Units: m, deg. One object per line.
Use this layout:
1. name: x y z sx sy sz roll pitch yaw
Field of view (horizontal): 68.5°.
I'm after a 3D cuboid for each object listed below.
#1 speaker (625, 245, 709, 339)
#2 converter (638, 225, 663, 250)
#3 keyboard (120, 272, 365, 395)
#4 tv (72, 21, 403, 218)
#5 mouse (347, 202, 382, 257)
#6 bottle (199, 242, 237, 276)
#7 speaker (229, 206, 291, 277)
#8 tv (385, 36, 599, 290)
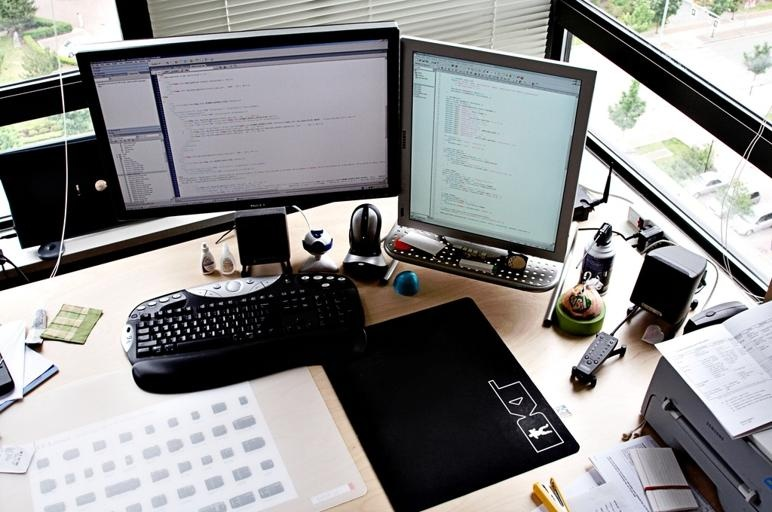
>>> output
1. speaker: 0.755 0.105 1.518 0.130 0.181 0.135 40 61 18
2. converter: 0.816 -0.058 1.749 0.062 0.058 0.031 -20 48 -11
3. keyboard: -0.373 0.196 1.507 0.623 0.062 0.310 -8 41 -9
4. tv: -0.381 -0.360 1.533 0.749 0.445 0.065 -5 35 -3
5. mouse: -0.064 -0.089 1.702 0.099 0.057 0.173 -1 60 3
6. bottle: -0.507 0.012 1.710 0.113 0.102 0.041 -2 54 -5
7. speaker: -0.366 -0.040 1.659 0.163 0.213 0.127 -4 42 -8
8. tv: 0.269 -0.232 1.549 0.575 0.643 0.373 15 49 13
